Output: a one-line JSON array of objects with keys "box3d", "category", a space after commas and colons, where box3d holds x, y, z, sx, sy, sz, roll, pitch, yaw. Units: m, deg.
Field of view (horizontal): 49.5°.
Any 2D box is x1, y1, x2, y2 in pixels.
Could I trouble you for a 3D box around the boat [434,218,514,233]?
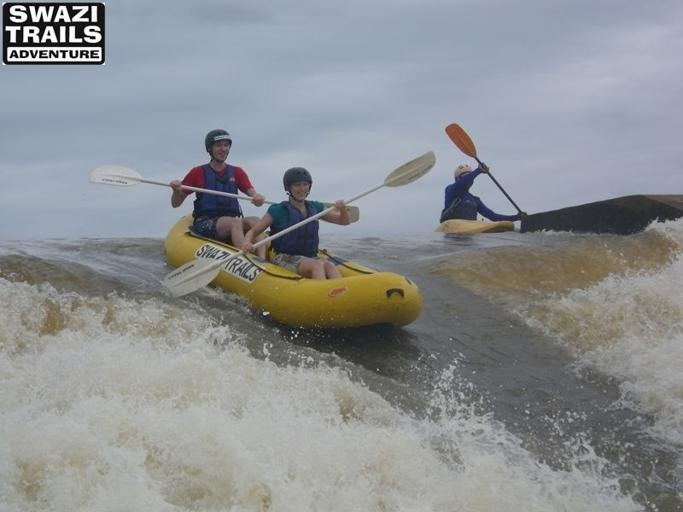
[{"box3d": [2.642, -0.597, 15.128, 0.594, 0.272, 1.767, -8, 9, -40], "category": "boat"}]
